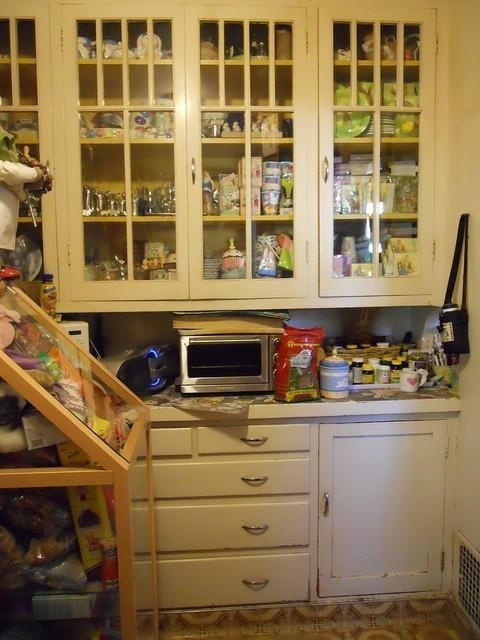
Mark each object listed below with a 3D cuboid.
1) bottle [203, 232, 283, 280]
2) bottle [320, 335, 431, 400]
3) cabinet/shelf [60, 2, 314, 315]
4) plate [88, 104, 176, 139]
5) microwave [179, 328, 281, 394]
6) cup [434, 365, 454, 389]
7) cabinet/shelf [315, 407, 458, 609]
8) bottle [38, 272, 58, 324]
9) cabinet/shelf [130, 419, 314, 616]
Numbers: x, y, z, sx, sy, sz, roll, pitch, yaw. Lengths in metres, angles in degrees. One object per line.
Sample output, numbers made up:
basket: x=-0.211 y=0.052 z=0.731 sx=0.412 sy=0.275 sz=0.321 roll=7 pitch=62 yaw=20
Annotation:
bottle: x=0.012 y=-0.214 z=1.838 sx=0.256 sy=0.155 sz=0.125 roll=0 pitch=7 yaw=-2
bottle: x=0.461 y=0.158 z=1.952 sx=0.398 sy=0.136 sz=0.337 roll=-2 pitch=10 yaw=4
cabinet/shelf: x=-0.193 y=-0.555 z=1.848 sx=0.964 sy=1.117 sz=0.328 roll=-1 pitch=7 yaw=-4
plate: x=-0.361 y=-0.619 z=1.835 sx=0.293 sy=0.089 sz=0.023 roll=-3 pitch=10 yaw=-4
microwave: x=-0.025 y=0.184 z=1.928 sx=0.344 sy=0.213 sz=0.194 roll=-4 pitch=-31 yaw=6
cup: x=0.680 y=0.183 z=1.931 sx=0.055 sy=0.071 sz=0.100 roll=-1 pitch=8 yaw=-7
cabinet/shelf: x=0.425 y=0.615 z=2.069 sx=0.573 sy=0.777 sz=0.515 roll=-1 pitch=1 yaw=-1
bottle: x=-0.591 y=-0.070 z=1.771 sx=0.057 sy=0.140 sz=0.174 roll=-5 pitch=10 yaw=-16
cabinet/shelf: x=-0.065 y=0.557 z=1.695 sx=0.712 sy=0.667 sz=0.274 roll=-1 pitch=1 yaw=-2
